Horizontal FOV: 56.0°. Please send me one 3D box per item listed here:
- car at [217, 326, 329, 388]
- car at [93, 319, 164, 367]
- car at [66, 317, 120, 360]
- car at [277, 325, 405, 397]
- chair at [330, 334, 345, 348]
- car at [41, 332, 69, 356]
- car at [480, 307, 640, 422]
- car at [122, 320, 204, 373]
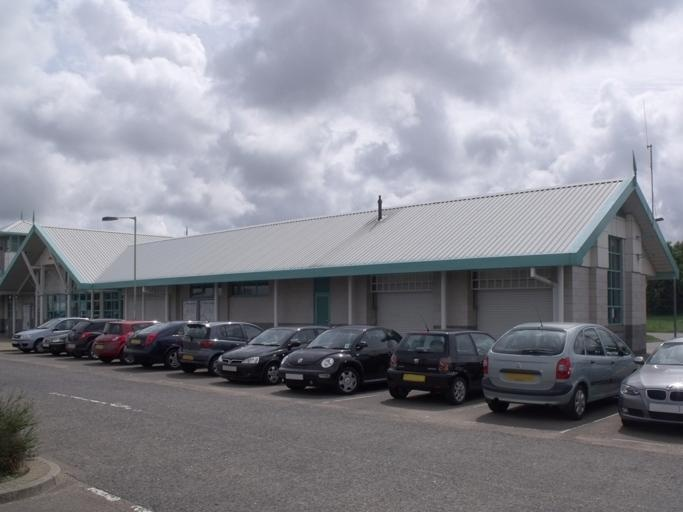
[{"bbox_3d":[-1.799,2.713,17.628,1.433,0.999,2.860,-6,-8,42],"label":"car"},{"bbox_3d":[-7.776,3.086,23.558,2.284,1.106,1.308,-1,-1,-41],"label":"car"},{"bbox_3d":[-10.271,3.285,25.745,2.471,1.194,1.412,-3,2,-35],"label":"car"},{"bbox_3d":[0.054,2.576,15.967,2.548,1.171,1.568,7,-11,-43],"label":"car"},{"bbox_3d":[-0.065,2.135,16.013,0.274,0.273,0.489,5,4,16],"label":"chair"},{"bbox_3d":[-12.229,3.788,27.602,0.827,1.030,1.732,1,-3,-33],"label":"car"},{"bbox_3d":[4.362,2.251,12.895,2.888,1.775,1.384,2,-2,-31],"label":"car"},{"bbox_3d":[-5.632,3.011,21.581,3.088,1.161,1.407,-1,-1,-41],"label":"car"}]
